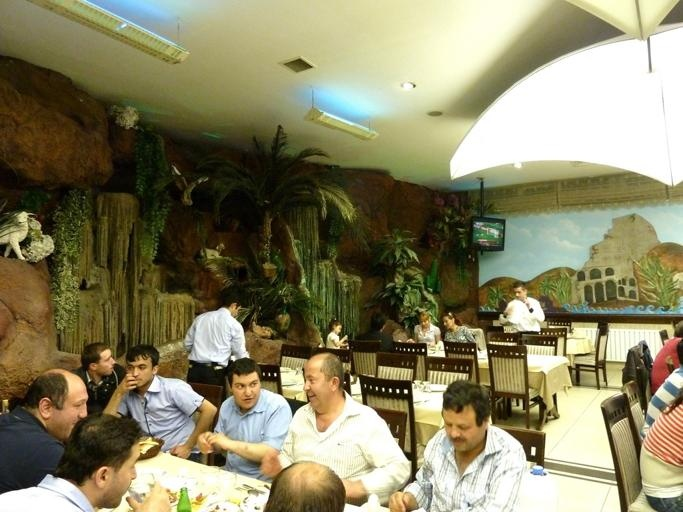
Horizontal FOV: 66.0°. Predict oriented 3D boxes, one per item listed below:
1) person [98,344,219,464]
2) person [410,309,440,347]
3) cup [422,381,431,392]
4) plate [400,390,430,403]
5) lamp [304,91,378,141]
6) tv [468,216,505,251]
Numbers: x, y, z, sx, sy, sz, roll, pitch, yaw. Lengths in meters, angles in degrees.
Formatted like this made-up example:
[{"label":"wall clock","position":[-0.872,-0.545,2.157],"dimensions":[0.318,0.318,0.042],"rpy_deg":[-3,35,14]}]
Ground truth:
[{"label":"person","position":[-1.544,1.271,4.397],"dimensions":[0.924,1.046,0.715],"rpy_deg":[-5,6,-1]},{"label":"person","position":[1.444,1.337,9.005],"dimensions":[0.496,0.728,0.352],"rpy_deg":[-1,11,14]},{"label":"cup","position":[0.934,1.432,5.761],"dimensions":[0.067,0.076,0.069],"rpy_deg":[-1,1,0]},{"label":"plate","position":[0.708,1.368,5.101],"dimensions":[0.216,0.060,0.248],"rpy_deg":[0,0,35]},{"label":"lamp","position":[-0.058,-2.185,8.368],"dimensions":[0.484,0.469,1.595],"rpy_deg":[-4,-8,37]},{"label":"tv","position":[3.773,-0.568,13.580],"dimensions":[0.894,0.884,0.125],"rpy_deg":[1,2,-7]}]
